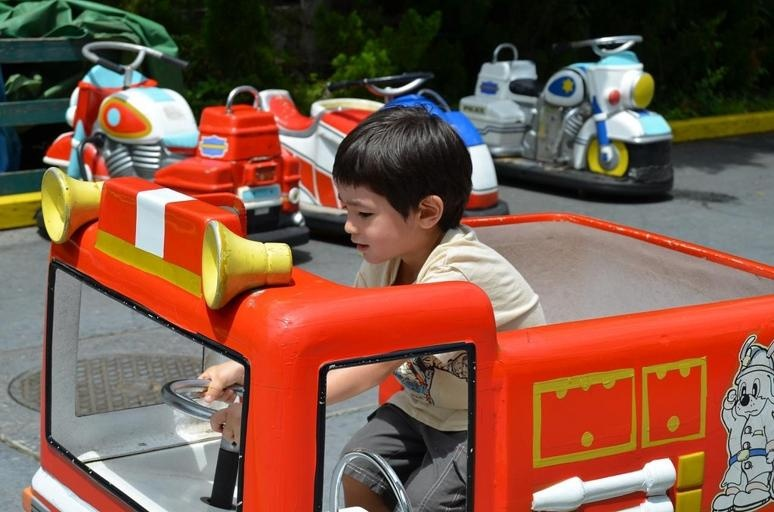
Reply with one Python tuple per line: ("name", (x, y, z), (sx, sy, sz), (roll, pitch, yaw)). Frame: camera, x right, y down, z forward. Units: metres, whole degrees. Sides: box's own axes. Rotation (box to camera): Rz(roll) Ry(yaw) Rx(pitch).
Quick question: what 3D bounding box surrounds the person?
("person", (0.004, 0.195, 2.852), (0.971, 1.252, 0.642), (2, 15, 7))
